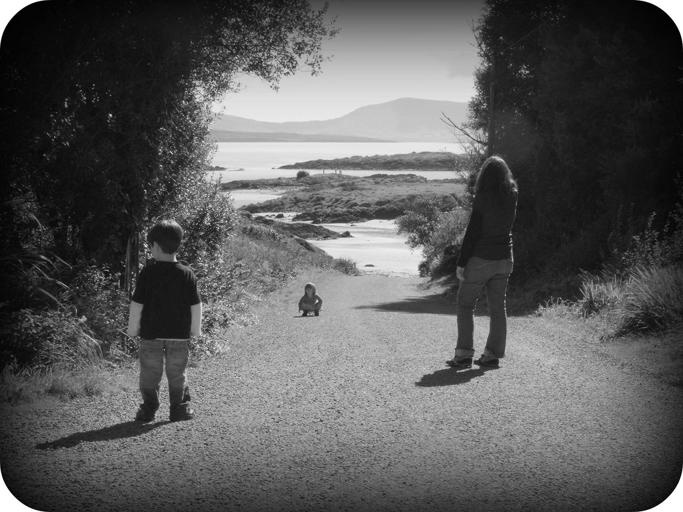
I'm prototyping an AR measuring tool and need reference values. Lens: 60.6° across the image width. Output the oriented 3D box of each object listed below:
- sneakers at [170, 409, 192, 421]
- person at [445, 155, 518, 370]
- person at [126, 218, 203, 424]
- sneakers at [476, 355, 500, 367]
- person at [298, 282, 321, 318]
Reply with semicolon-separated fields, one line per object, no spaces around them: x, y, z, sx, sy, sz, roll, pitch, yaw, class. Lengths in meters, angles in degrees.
-1.824;1.769;6.619;0.220;0.152;0.114;-14;20;-32;sneakers
2.001;0.119;8.231;0.771;3.002;0.648;3;11;16;person
-1.971;0.748;6.488;0.756;2.211;0.432;-3;11;-17;person
2.091;1.506;8.413;0.132;0.157;0.362;0;5;-27;sneakers
-0.845;1.112;15.302;0.531;0.934;1.066;0;11;1;person
